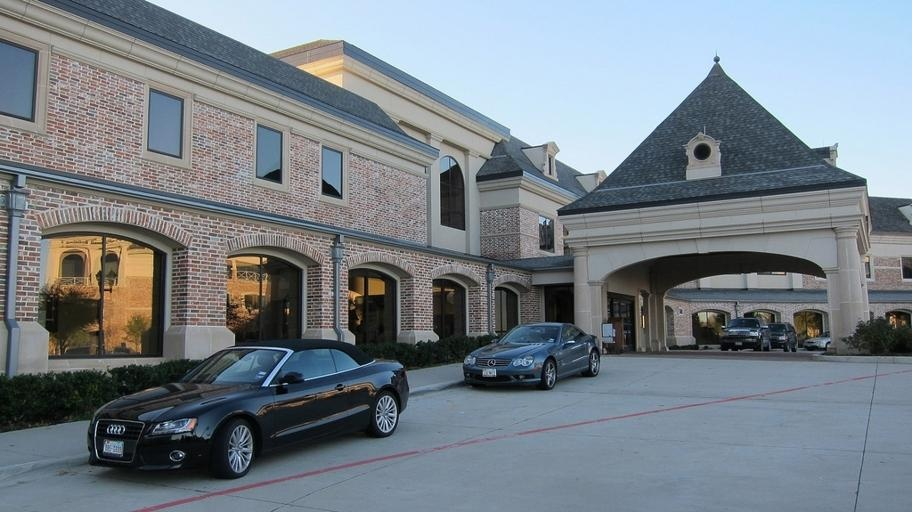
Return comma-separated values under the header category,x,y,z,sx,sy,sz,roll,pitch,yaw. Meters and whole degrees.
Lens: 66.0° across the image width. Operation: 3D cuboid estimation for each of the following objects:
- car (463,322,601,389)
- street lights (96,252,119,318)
category,x,y,z,sx,sy,sz,roll,pitch,yaw
car,2.686,3.450,24.068,4.577,2.285,2.102,6,-13,-41
street lights,-10.901,0.916,21.873,0.637,1.997,0.460,2,-11,-26
